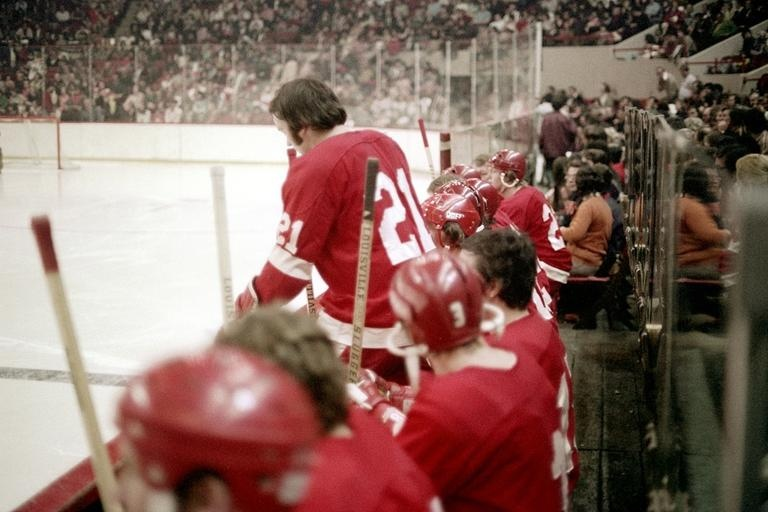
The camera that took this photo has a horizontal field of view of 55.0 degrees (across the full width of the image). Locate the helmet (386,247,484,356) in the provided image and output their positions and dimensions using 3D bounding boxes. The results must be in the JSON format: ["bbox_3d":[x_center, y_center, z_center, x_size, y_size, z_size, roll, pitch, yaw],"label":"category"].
[{"bbox_3d":[0.153,0.143,2.415,0.247,0.333,0.287,-20,-17,-24],"label":"helmet"}]
